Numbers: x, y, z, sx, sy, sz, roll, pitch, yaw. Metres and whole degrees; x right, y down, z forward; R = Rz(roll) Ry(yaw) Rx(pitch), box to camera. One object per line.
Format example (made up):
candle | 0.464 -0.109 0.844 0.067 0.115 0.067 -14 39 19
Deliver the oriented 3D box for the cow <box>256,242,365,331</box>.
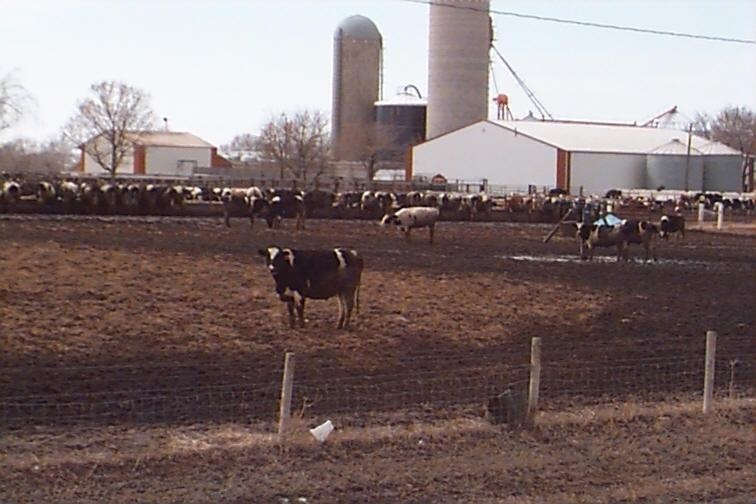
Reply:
cow | -1.727 0.914 27.183 2.751 1.912 1.148 4 -3 -28

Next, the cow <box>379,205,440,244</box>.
cow | 1.327 -1.086 41.166 2.448 1.349 0.714 -2 1 -23

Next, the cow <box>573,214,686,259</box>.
cow | 9.059 -0.481 38.206 2.117 1.458 3.618 4 5 44
